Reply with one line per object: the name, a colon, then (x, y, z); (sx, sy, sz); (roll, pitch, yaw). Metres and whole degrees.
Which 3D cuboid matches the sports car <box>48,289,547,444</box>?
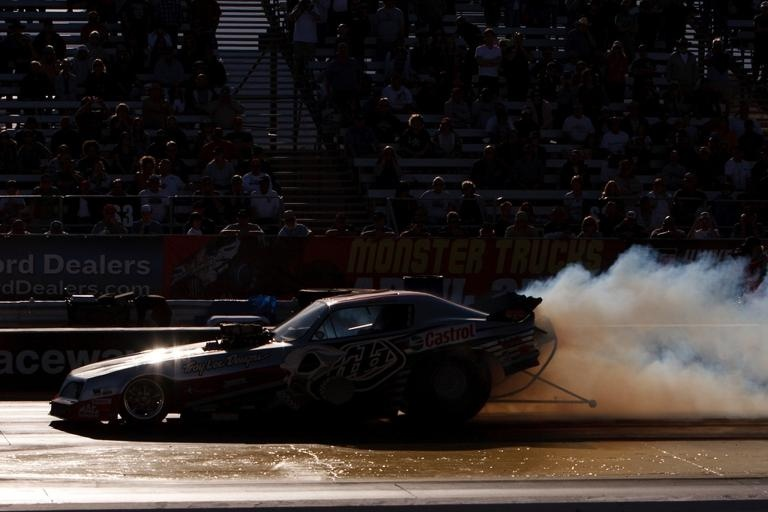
sports car: (-1.444, 1.969, 35.281); (7.141, 1.660, 3.112); (1, -4, -2)
